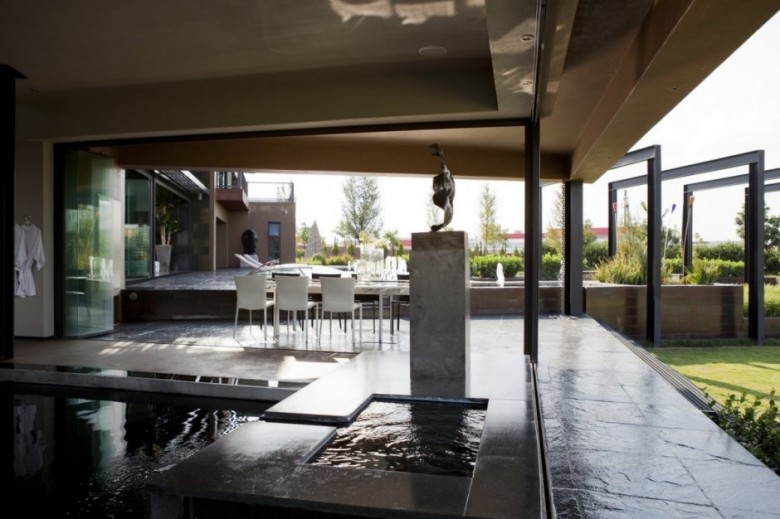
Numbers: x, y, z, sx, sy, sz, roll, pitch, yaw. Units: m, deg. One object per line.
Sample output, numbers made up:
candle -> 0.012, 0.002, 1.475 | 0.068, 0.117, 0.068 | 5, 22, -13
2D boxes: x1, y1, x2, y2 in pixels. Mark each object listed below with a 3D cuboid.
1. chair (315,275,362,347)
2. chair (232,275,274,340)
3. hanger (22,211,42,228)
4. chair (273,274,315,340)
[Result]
chair -> -0.688, 0.636, 7.174 | 0.537, 0.860, 0.607 | 0, -2, 18
chair -> -2.008, 0.662, 7.506 | 0.587, 0.930, 0.621 | 3, -1, -35
hanger -> -5.253, -0.588, 7.650 | 0.228, 0.244, 0.011 | -4, -3, 5
chair -> -1.381, 0.635, 7.291 | 0.472, 0.808, 0.522 | 1, -1, -20
